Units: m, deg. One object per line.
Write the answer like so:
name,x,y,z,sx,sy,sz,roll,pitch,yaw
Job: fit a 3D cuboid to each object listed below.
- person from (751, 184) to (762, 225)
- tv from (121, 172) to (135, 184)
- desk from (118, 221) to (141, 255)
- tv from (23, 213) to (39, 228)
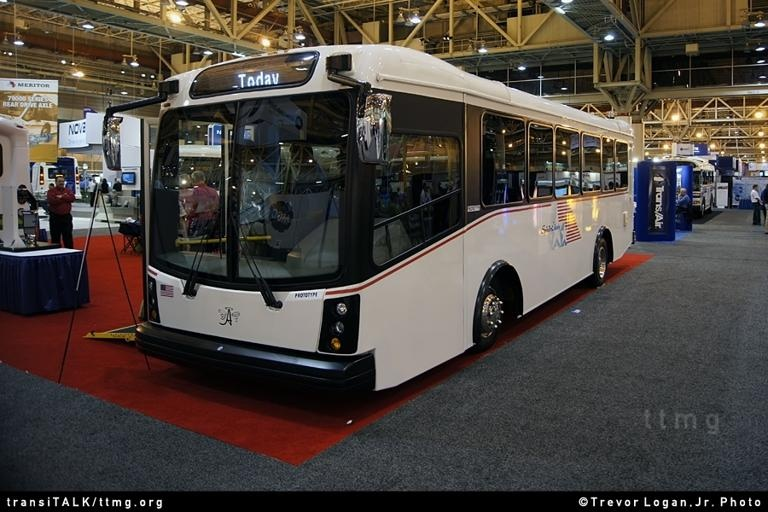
person,18.001,-2.429,26.288,0.445,1.797,1.540,5,11,34
tv,-11.516,-3.451,24.538,0.973,0.763,0.136,1,5,26
desk,-7.672,-0.586,16.483,0.771,0.900,0.799,-4,1,-24
tv,-6.978,-0.717,10.675,0.290,0.298,0.783,-7,13,-34
